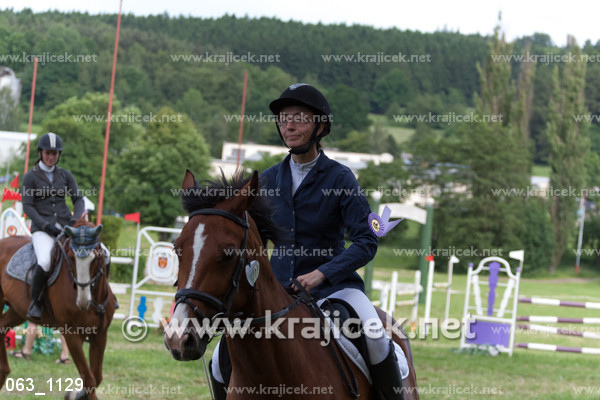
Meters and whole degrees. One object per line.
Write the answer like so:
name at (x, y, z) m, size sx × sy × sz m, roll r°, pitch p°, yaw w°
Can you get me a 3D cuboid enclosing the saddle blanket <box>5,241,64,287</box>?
saddle blanket at (-9.417, 2.219, 30.632) m, size 1.236 × 1.719 × 0.487 m, roll -1°, pitch -14°, yaw 22°
